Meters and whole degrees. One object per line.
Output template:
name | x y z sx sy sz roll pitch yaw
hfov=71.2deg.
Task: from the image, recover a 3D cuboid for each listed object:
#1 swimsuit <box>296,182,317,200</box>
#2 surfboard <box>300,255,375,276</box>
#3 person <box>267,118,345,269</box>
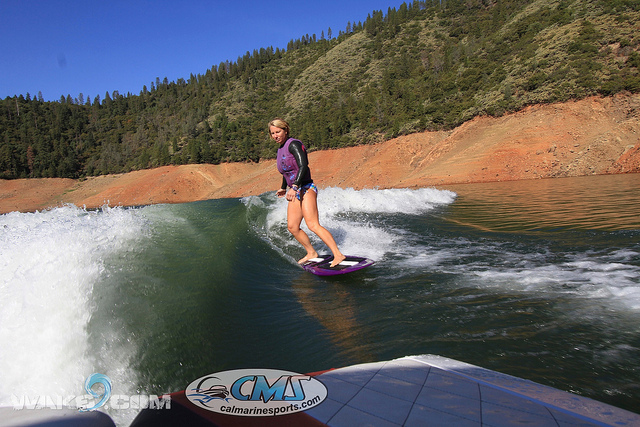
swimsuit | -0.184 -0.349 6.632 0.314 0.193 0.272 -20 11 -10
surfboard | 0.252 0.757 6.494 1.088 0.202 0.582 -1 13 33
person | -0.251 -0.314 6.761 0.719 2.306 1.414 -15 13 -3
